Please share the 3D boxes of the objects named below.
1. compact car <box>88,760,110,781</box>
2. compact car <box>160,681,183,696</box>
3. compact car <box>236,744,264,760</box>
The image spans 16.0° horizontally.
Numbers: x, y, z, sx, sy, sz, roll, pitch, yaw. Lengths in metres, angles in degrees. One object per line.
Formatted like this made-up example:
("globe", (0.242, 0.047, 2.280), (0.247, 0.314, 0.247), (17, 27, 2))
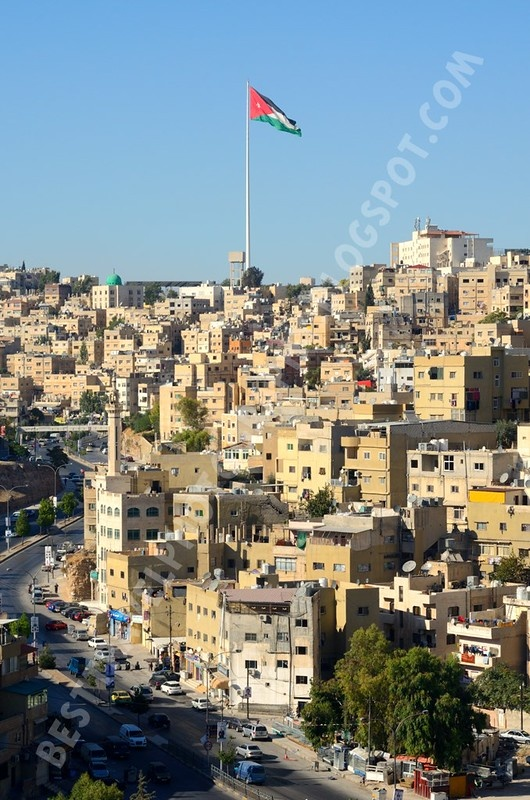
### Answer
("compact car", (-5.594, 12.297, 62.288), (0.557, 0.588, 1.413), (-1, -4, -13))
("compact car", (-3.867, 11.800, 76.869), (0.926, 0.455, 1.468), (2, -3, -20))
("compact car", (-0.586, 12.221, 65.146), (0.882, 0.433, 1.183), (3, -4, -37))
